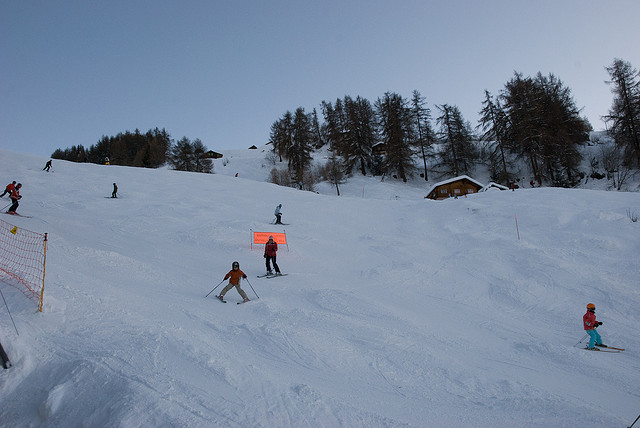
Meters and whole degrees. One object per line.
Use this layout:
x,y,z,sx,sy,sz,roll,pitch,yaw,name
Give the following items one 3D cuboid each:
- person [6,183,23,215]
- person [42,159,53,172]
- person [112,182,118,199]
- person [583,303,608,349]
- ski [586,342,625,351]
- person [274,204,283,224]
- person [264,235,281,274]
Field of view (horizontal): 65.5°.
-17.563,-0.858,28.530,0.682,1.629,2.539,-2,14,-32,person
-22.075,-3.873,40.260,0.630,0.958,0.241,4,-22,44,person
-14.775,-1.682,35.842,0.336,1.061,1.409,0,13,-23,person
10.938,4.435,19.702,0.905,1.583,0.812,0,12,-24,person
11.241,5.240,19.642,0.128,0.157,1.074,-32,28,-35,ski
-2.764,-0.018,33.602,0.554,1.292,1.383,4,11,-5,person
-2.351,2.063,25.093,0.862,1.862,0.874,6,11,8,person
